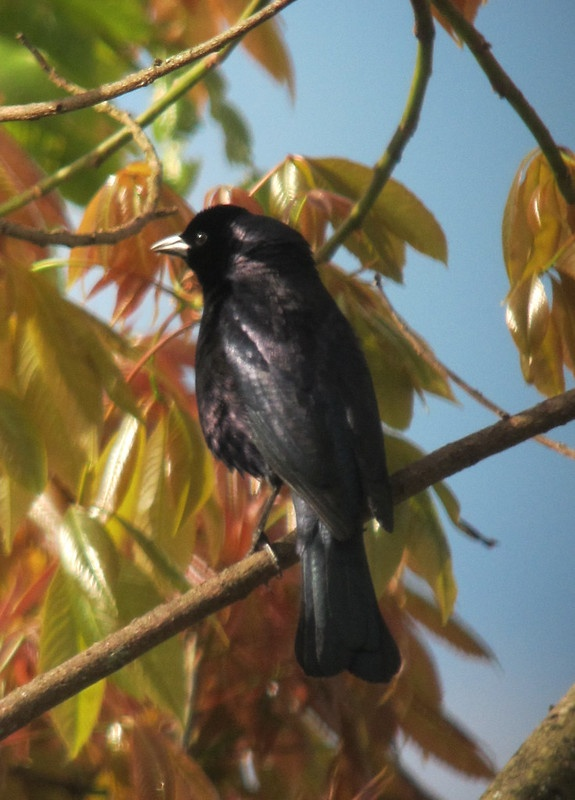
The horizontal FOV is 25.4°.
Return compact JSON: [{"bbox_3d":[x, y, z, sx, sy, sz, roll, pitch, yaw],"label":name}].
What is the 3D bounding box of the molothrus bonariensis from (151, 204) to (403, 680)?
[{"bbox_3d":[-0.032,0.050,2.300,0.560,0.886,0.340,7,-39,6],"label":"molothrus bonariensis"}]
